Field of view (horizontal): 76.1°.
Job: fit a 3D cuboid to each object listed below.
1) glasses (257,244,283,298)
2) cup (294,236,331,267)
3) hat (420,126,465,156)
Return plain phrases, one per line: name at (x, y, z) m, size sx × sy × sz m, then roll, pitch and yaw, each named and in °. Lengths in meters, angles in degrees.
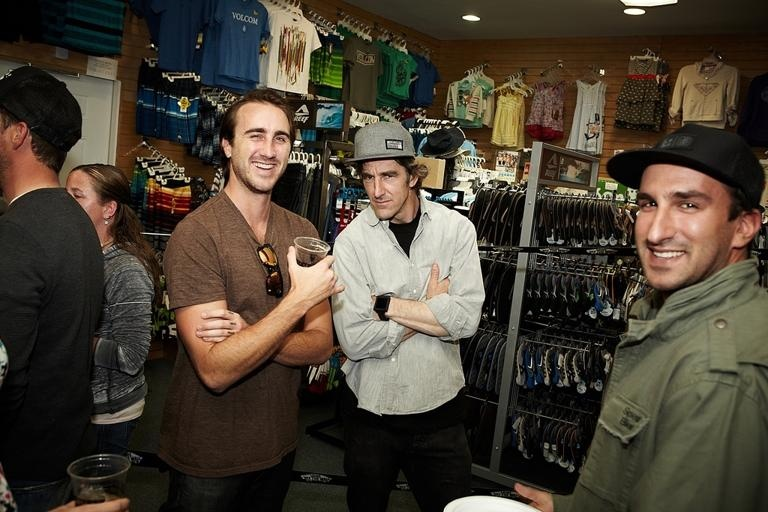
glasses at (-0.526, 0.062, 2.166) m, size 0.050 × 0.215 × 0.120 m, roll -26°, pitch -12°, yaw 33°
cup at (-0.295, -0.023, 2.004) m, size 0.130 × 0.109 × 0.160 m, roll 4°, pitch 11°, yaw -5°
hat at (0.584, -1.130, 4.902) m, size 0.344 × 0.339 × 0.123 m, roll 12°, pitch -14°, yaw 23°
